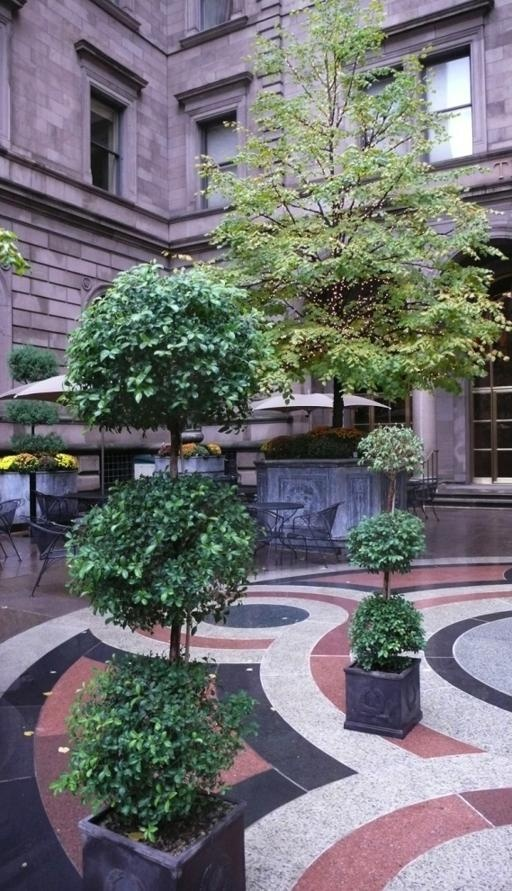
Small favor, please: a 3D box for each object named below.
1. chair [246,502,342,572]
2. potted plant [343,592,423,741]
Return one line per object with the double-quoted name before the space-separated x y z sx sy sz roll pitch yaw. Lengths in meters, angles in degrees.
"chair" 0.549 1.410 11.804 1.387 0.963 1.096 -1 -1 8
"potted plant" 0.760 1.303 4.759 0.465 0.744 0.488 0 3 20
